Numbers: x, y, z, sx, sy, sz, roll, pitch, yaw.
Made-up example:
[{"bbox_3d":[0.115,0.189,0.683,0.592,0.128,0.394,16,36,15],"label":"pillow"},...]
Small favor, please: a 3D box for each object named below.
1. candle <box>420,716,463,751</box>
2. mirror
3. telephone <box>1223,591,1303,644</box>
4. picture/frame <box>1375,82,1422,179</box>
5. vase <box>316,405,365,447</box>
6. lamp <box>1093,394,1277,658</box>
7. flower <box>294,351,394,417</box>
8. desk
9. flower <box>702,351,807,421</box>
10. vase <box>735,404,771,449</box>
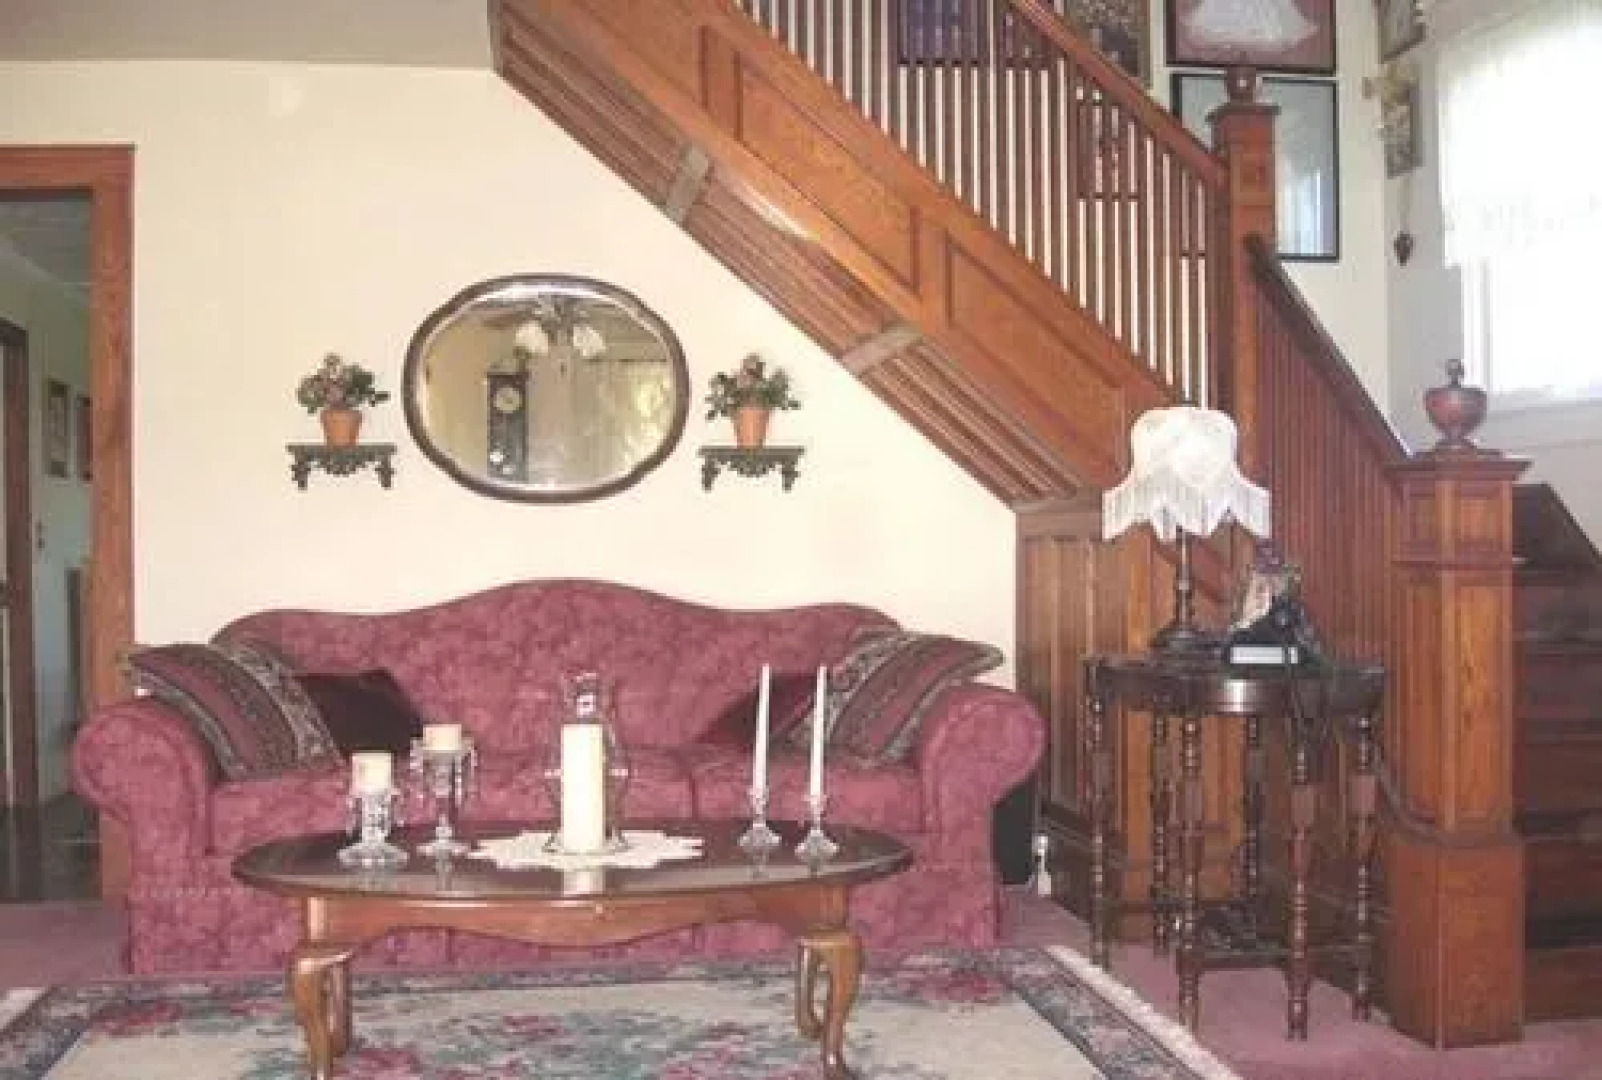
[{"bbox_3d":[-1.135,0.633,5.219,0.125,0.081,0.102,-2,-2,13],"label":"candle"},{"bbox_3d":[-1.116,-0.640,7.125,1.007,0.836,0.039,-1,-4,-5],"label":"mirror"},{"bbox_3d":[1.557,0.267,5.517,0.258,0.148,0.140,-1,-2,-27],"label":"telephone"},{"bbox_3d":[2.858,-1.958,7.894,0.077,0.385,0.229,-1,-1,-23],"label":"picture/frame"},{"bbox_3d":[-1.922,-0.472,6.912,0.161,0.154,0.162,-1,0,8],"label":"vase"},{"bbox_3d":[1.404,-0.031,5.876,0.504,0.690,0.514,-3,-2,30],"label":"lamp"},{"bbox_3d":[-1.932,-0.653,6.977,0.384,0.257,0.161,-1,-1,-16],"label":"flower"},{"bbox_3d":[1.552,0.921,6.102,1.076,1.467,1.516,2,-4,-8],"label":"desk"},{"bbox_3d":[-0.213,-0.642,7.031,0.336,0.232,0.302,-1,8,-12],"label":"flower"},{"bbox_3d":[-0.210,-0.483,7.032,0.166,0.134,0.169,4,4,43],"label":"vase"}]
